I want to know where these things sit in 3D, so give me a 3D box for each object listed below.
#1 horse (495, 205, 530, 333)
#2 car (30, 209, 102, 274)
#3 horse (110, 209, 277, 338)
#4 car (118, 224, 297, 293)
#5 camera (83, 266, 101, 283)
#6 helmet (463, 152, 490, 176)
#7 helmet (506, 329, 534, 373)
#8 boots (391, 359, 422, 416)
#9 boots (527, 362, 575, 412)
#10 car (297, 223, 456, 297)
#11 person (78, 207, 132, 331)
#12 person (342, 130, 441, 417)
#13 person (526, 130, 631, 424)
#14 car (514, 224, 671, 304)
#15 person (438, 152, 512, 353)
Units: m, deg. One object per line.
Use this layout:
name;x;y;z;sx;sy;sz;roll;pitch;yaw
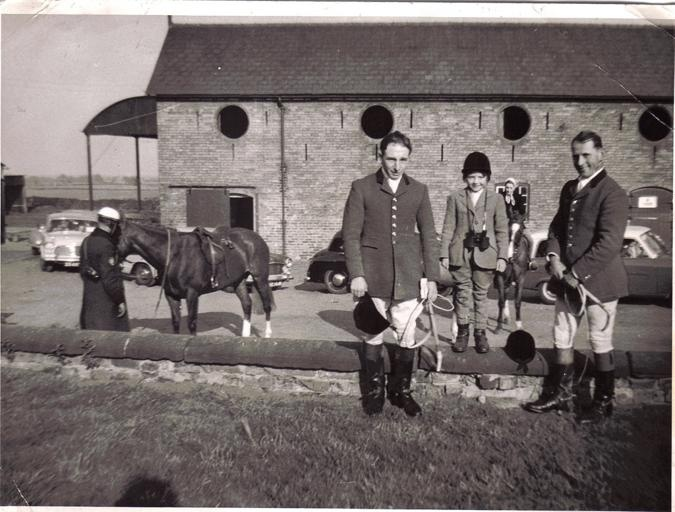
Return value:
horse;2.430;0.221;9.876;0.451;1.595;1.920;3;-3;14
car;-4.844;-0.315;12.451;0.887;0.727;1.536;0;4;-18
horse;-1.707;0.315;8.741;0.658;1.557;2.141;4;6;36
car;-2.124;0.147;11.651;2.307;1.048;1.288;1;1;0
camera;-2.807;0.192;7.955;0.216;0.176;0.082;3;5;20
helmet;1.613;-1.069;8.189;0.303;0.283;0.243;2;5;8
helmet;1.885;0.965;7.247;0.290;0.413;0.098;0;-3;22
boots;0.715;1.325;7.170;0.225;0.507;0.508;-5;11;-29
boots;2.167;1.329;7.201;0.503;0.485;0.231;-4;13;-2
car;0.446;0.033;11.756;1.927;0.977;1.143;0;3;4
person;-2.660;0.155;7.997;0.505;1.389;0.203;-1;5;-21
person;0.521;0.175;7.093;0.980;2.824;0.353;1;4;0
person;2.460;0.191;7.059;0.814;2.860;0.390;3;5;23
car;4.002;0.061;11.160;2.317;1.086;1.384;-1;3;9
person;1.592;-0.134;8.209;0.771;2.138;0.666;2;4;8
